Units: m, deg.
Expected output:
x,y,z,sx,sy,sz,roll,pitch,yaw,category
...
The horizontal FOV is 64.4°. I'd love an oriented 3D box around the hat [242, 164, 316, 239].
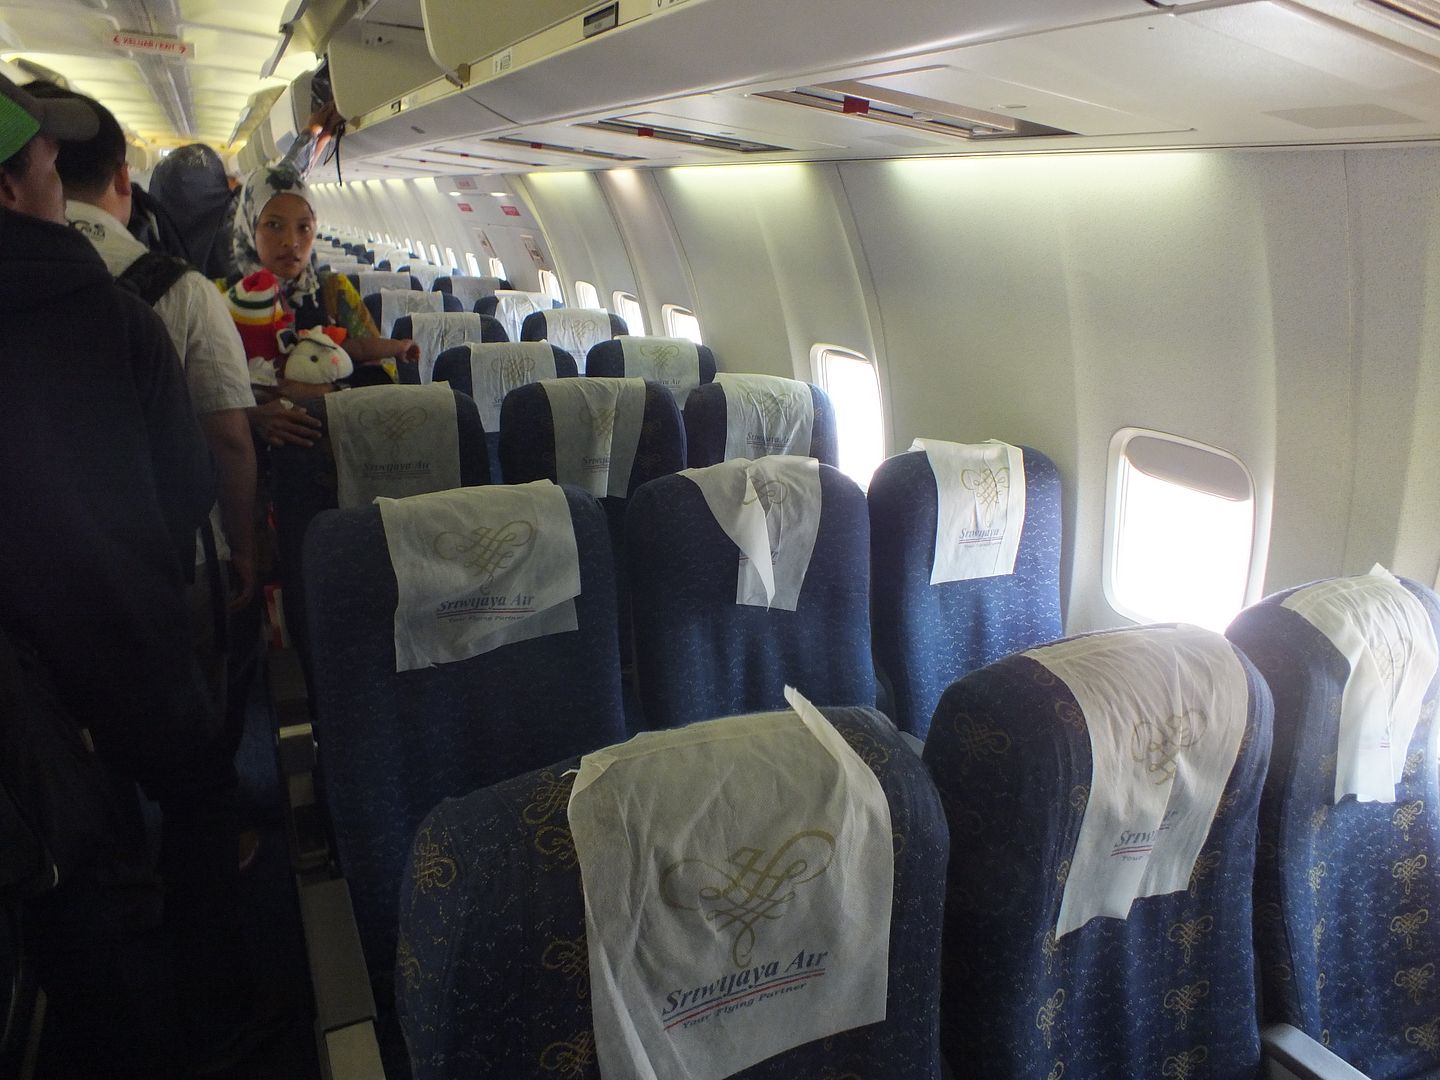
x,y,z,sx,sy,sz,roll,pitch,yaw,category
-1.681,-1.303,4.359,0.219,0.294,0.237,5,11,-30,hat
